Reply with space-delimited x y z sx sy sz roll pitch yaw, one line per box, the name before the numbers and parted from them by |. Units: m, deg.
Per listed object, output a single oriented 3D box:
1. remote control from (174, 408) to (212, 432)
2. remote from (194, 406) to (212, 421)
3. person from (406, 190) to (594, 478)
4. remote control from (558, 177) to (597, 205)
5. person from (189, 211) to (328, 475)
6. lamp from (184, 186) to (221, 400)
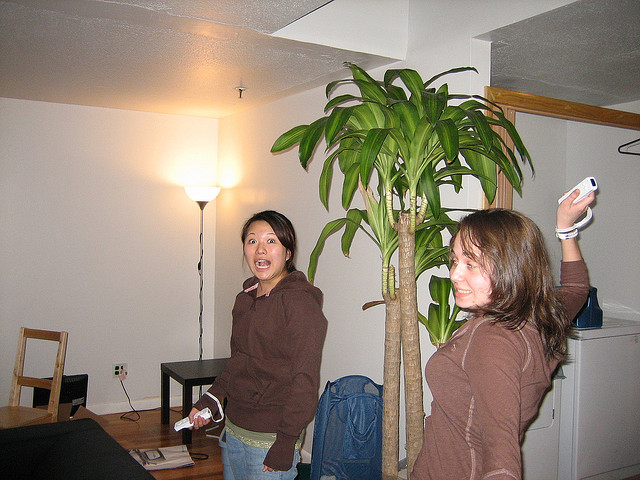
remote control | -0.578 0.806 2.237 0.174 0.084 0.105 2 -5 -33
remote | -0.530 0.785 2.243 0.063 0.023 0.050 -29 -2 13
person | 0.493 0.338 1.449 0.491 0.848 0.414 -2 -4 16
remote control | 0.880 -0.147 1.690 0.028 0.067 0.139 29 -47 -25
person | -0.246 0.451 2.220 0.597 1.167 0.318 -4 -5 35
lamp | -1.202 0.535 5.088 0.331 2.117 0.624 0 -4 -14
